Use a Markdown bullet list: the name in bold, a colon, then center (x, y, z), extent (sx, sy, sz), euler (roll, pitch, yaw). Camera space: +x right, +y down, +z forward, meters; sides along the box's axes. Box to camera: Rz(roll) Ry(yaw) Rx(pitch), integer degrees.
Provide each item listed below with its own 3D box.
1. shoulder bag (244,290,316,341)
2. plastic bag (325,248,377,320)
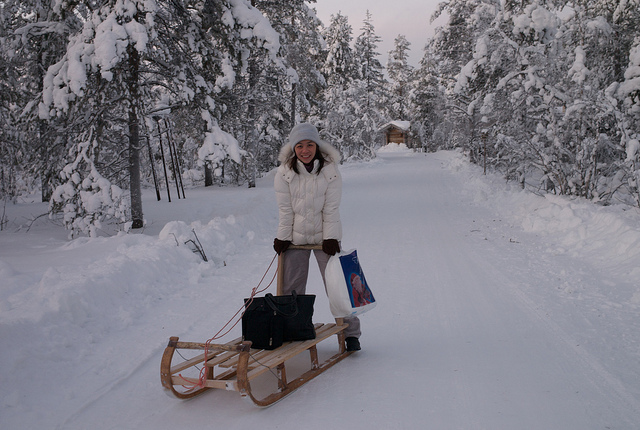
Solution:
- **shoulder bag**: center (-0.645, 1.801, 8.657), extent (1.135, 0.933, 0.637), euler (2, -17, -8)
- **plastic bag**: center (0.551, 1.334, 9.153), extent (0.950, 1.379, 0.548), euler (-20, 7, -35)
